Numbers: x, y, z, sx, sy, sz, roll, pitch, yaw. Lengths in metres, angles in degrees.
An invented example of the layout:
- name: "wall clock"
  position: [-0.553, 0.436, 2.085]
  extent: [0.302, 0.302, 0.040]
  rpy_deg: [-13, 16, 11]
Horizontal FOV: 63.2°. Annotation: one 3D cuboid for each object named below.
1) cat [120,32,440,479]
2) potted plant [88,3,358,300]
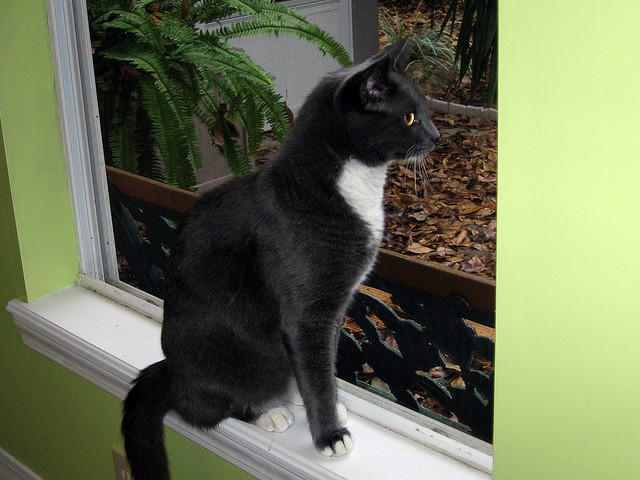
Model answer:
- name: "cat"
  position: [-0.107, 0.067, 1.019]
  extent: [0.577, 0.891, 0.284]
  rpy_deg: [8, 21, 12]
- name: "potted plant"
  position: [-0.352, -0.493, 1.877]
  extent: [1.008, 0.989, 0.369]
  rpy_deg: [17, 37, 41]
